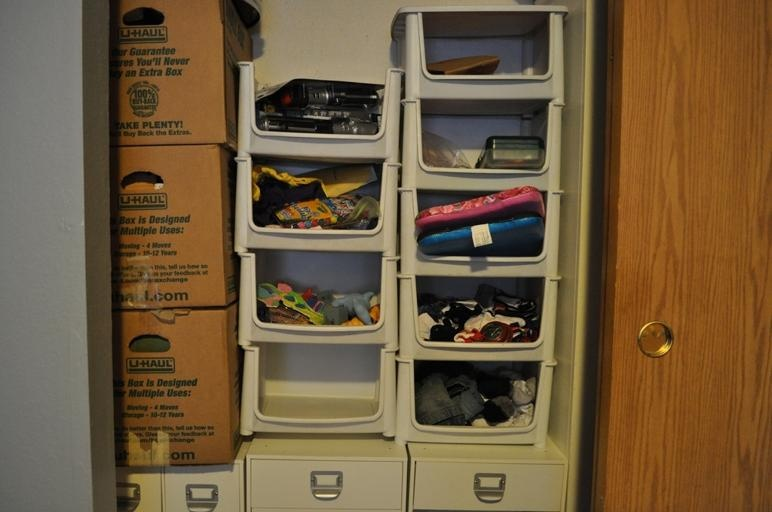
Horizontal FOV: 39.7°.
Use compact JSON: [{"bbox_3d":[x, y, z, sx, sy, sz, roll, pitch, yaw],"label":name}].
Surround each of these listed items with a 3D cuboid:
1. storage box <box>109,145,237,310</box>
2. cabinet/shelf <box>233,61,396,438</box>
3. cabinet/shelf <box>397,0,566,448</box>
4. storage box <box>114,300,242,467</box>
[{"bbox_3d":[-0.731,-0.082,4.368,0.680,0.749,0.527,0,4,4],"label":"storage box"},{"bbox_3d":[-0.248,-0.015,4.326,0.668,1.484,0.348,-1,3,1],"label":"cabinet/shelf"},{"bbox_3d":[0.391,-0.109,4.301,0.700,1.721,0.430,-1,3,6],"label":"cabinet/shelf"},{"bbox_3d":[-0.809,0.520,4.405,0.541,0.555,0.552,0,-1,-1],"label":"storage box"}]
